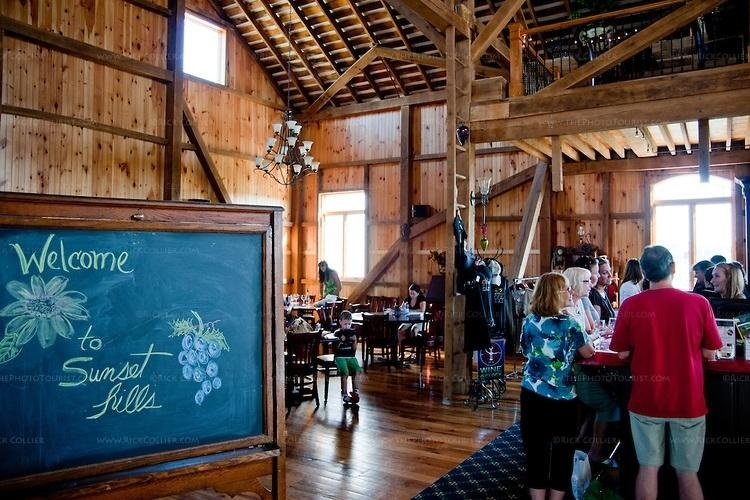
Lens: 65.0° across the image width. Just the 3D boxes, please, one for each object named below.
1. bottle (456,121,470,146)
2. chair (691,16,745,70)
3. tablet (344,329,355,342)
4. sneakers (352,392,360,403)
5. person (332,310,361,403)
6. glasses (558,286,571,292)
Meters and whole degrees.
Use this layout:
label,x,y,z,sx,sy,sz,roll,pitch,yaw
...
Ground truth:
label,x,y,z,sx,sy,sz,roll,pitch,yaw
bottle,1.122,-1.521,7.667,0.289,0.322,0.091,-5,5,-39
chair,4.941,-3.018,8.441,0.675,0.804,1.071,0,4,32
tablet,-0.319,1.037,7.168,0.031,0.131,0.129,1,2,-28
sneakers,-0.243,1.786,7.150,0.065,0.159,0.105,0,4,38
person,-0.367,1.326,7.370,0.298,1.118,0.596,-3,4,-4
glasses,1.477,0.303,4.604,0.079,0.026,0.079,-1,-1,21
